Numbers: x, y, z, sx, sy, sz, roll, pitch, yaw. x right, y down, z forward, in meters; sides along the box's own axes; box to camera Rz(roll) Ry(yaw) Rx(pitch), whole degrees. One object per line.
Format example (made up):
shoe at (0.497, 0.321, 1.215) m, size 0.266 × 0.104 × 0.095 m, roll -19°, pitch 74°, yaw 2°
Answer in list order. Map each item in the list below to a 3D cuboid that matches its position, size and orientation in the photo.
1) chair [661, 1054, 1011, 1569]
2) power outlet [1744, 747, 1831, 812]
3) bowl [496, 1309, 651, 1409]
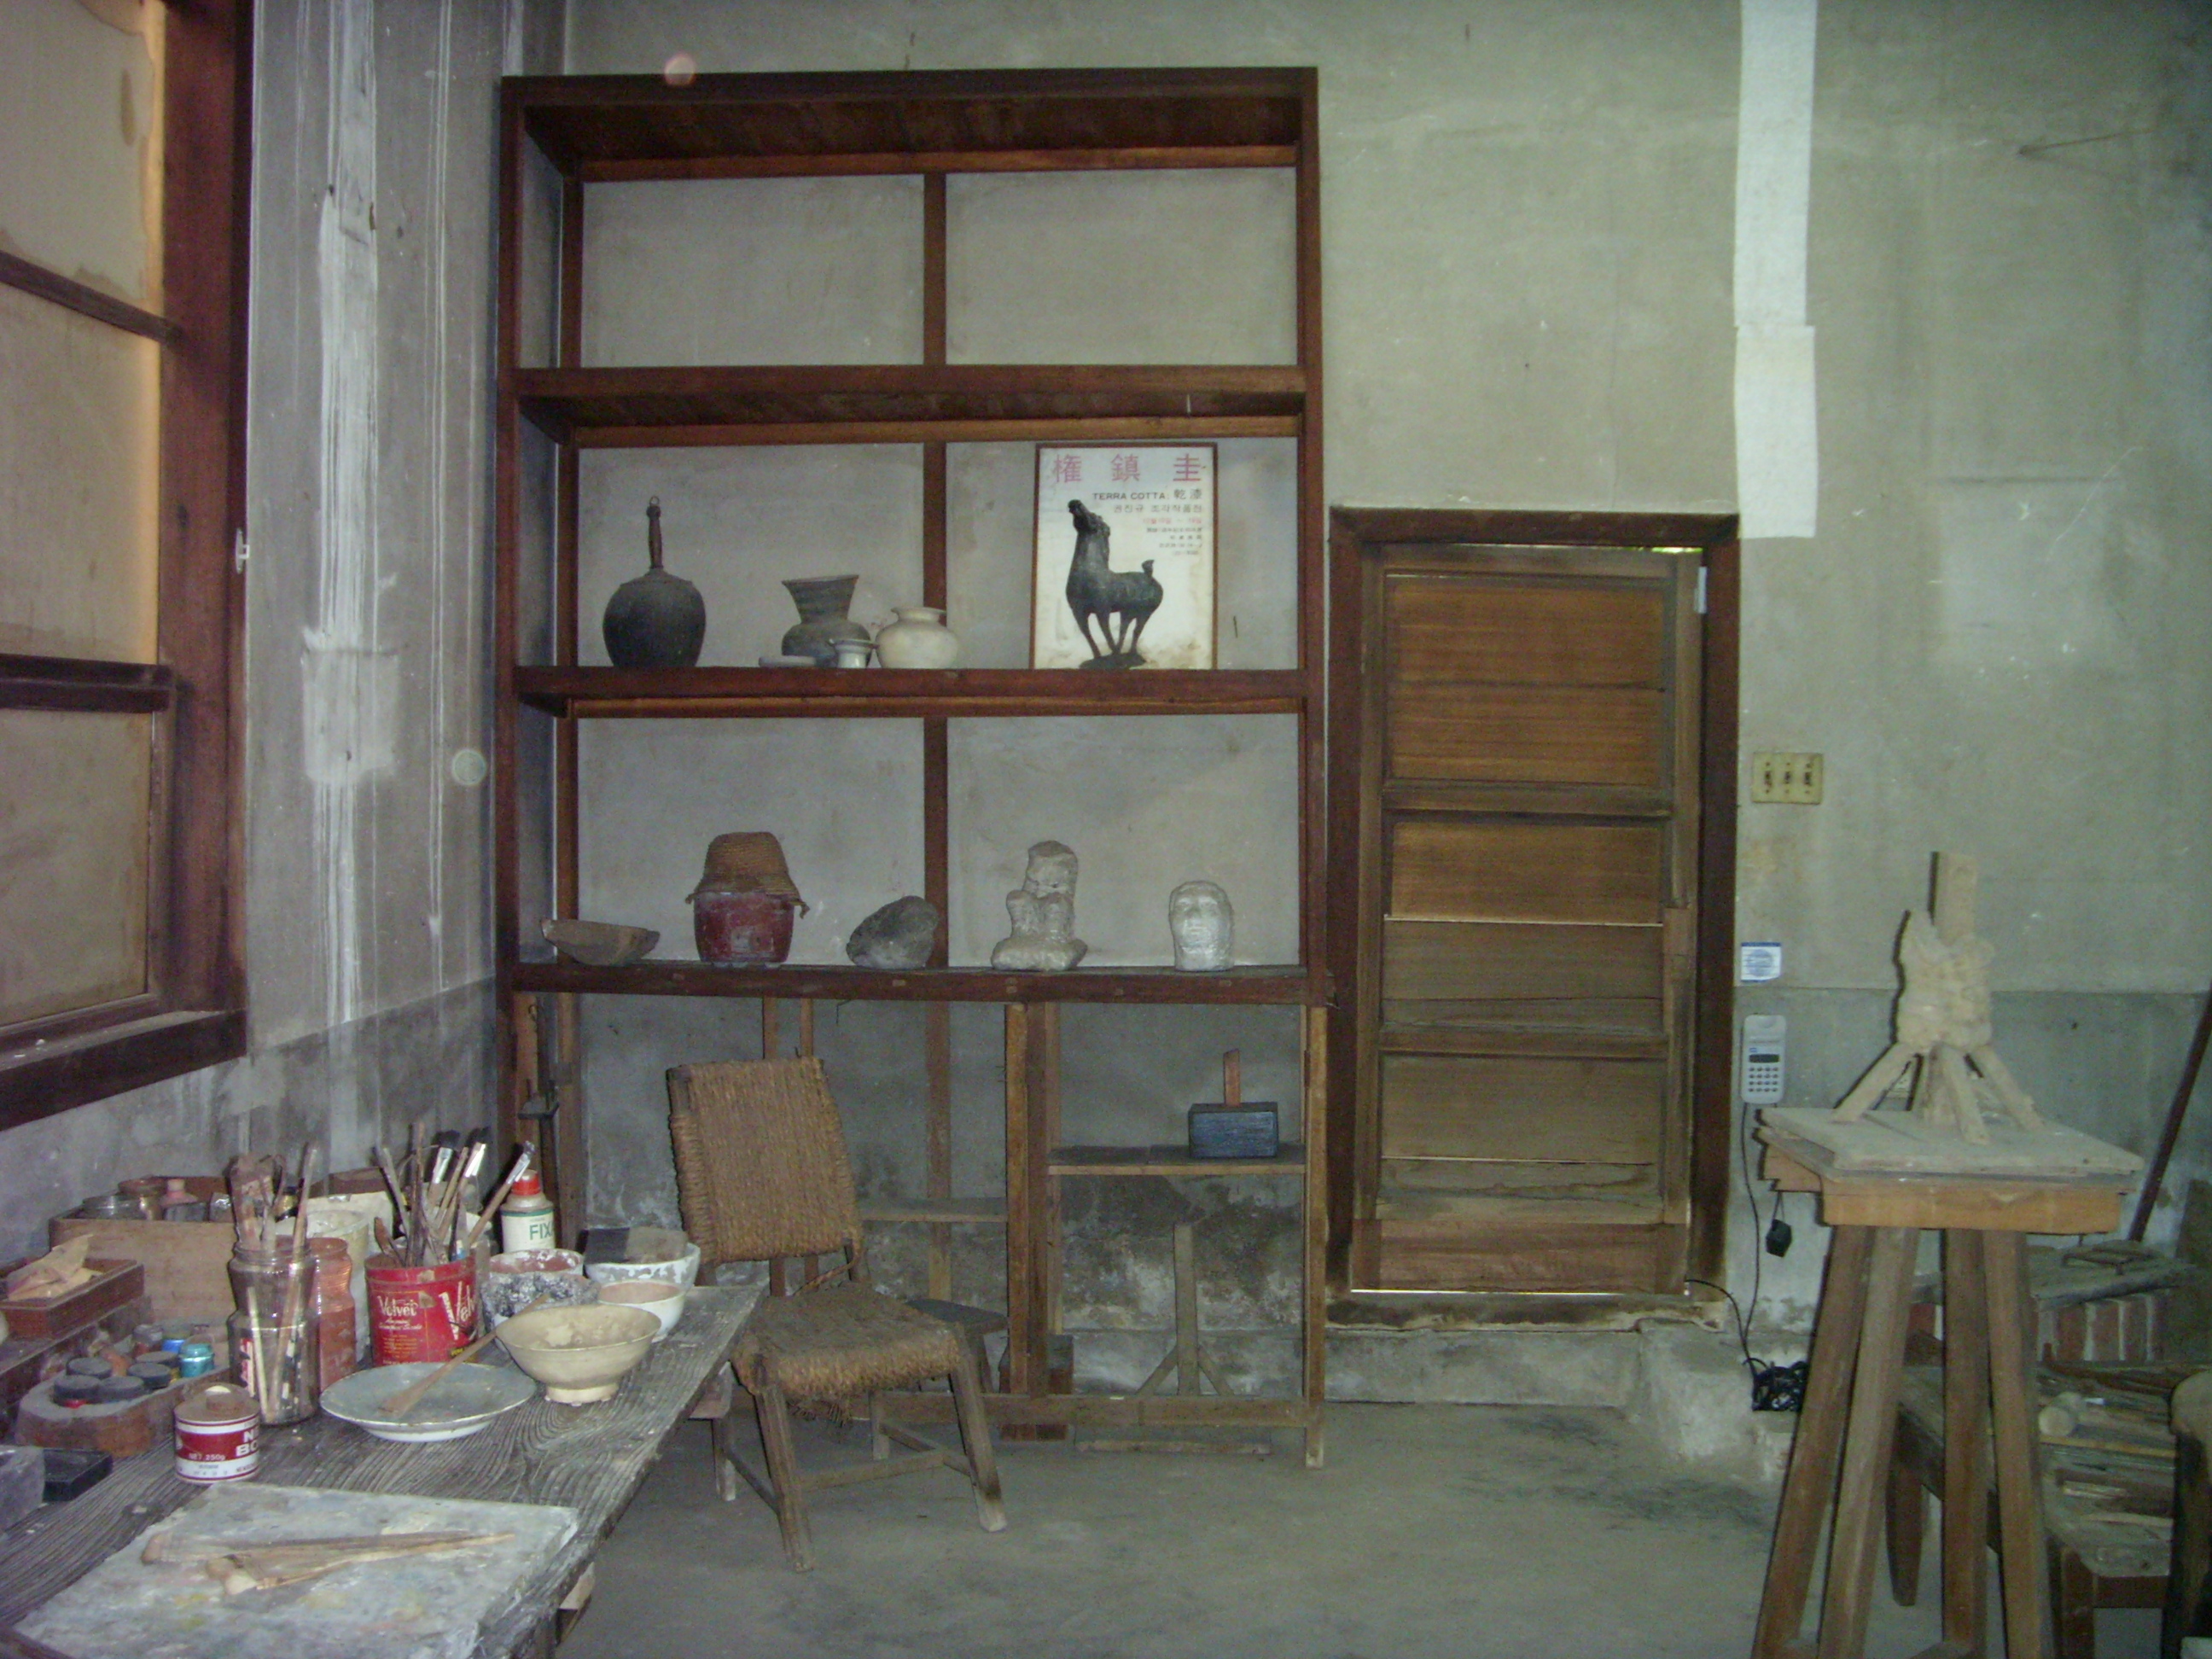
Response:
chair at (-0.625, 1.052, 4.885) m, size 0.532 × 0.975 × 0.752 m, roll -4°, pitch 3°, yaw -26°
power outlet at (1.813, -0.140, 5.793) m, size 0.167 × 0.126 × 0.023 m, roll 0°, pitch 3°, yaw 3°
bowl at (-0.910, 0.886, 3.694) m, size 0.172 × 0.074 × 0.174 m, roll -1°, pitch -1°, yaw 0°
